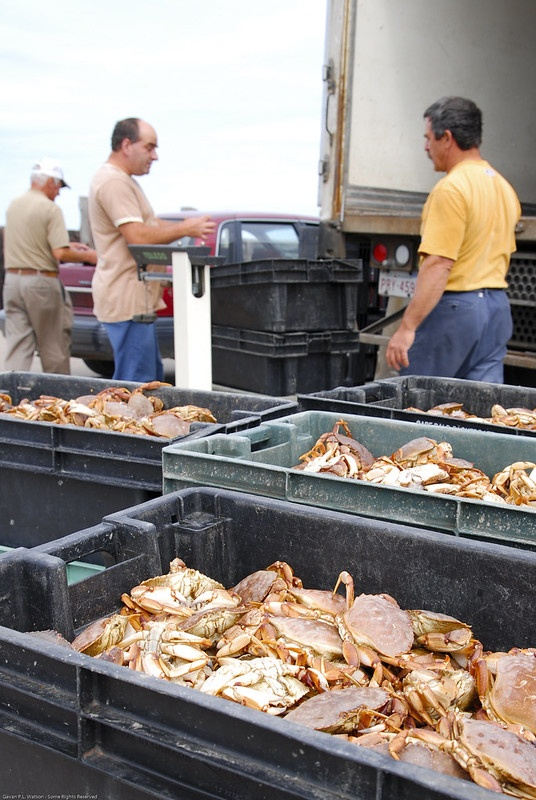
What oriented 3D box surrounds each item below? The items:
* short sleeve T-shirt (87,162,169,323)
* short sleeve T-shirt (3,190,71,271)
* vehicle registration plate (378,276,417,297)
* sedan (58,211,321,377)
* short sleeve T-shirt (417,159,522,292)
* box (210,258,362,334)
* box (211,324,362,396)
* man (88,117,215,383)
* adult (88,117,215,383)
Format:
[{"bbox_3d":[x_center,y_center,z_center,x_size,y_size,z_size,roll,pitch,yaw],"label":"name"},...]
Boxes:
[{"bbox_3d":[-0.718,-0.845,4.297,0.442,0.837,0.743,-5,11,0],"label":"short sleeve T-shirt"},{"bbox_3d":[-1.564,-1.110,5.293,0.462,0.503,0.232,-1,10,-4],"label":"short sleeve T-shirt"},{"bbox_3d":[0.767,-0.685,4.732,0.168,0.101,0.169,7,12,35],"label":"vehicle registration plate"},{"bbox_3d":[-0.507,-0.988,6.658,2.083,0.957,1.131,-21,29,-37],"label":"sedan"},{"bbox_3d":[0.883,-0.737,3.358,0.522,0.552,0.236,-4,11,-19],"label":"short sleeve T-shirt"},{"bbox_3d":[0.073,-0.663,5.039,0.664,0.411,0.971,-5,8,-26],"label":"box"},{"bbox_3d":[-0.010,-0.269,4.837,0.503,0.312,0.740,-10,17,-38],"label":"box"},{"bbox_3d":[-0.678,-0.743,4.082,0.462,1.372,0.623,-3,10,-12],"label":"man"},{"bbox_3d":[-0.675,-0.742,4.080,0.462,1.372,0.633,-3,10,-13],"label":"adult"}]
